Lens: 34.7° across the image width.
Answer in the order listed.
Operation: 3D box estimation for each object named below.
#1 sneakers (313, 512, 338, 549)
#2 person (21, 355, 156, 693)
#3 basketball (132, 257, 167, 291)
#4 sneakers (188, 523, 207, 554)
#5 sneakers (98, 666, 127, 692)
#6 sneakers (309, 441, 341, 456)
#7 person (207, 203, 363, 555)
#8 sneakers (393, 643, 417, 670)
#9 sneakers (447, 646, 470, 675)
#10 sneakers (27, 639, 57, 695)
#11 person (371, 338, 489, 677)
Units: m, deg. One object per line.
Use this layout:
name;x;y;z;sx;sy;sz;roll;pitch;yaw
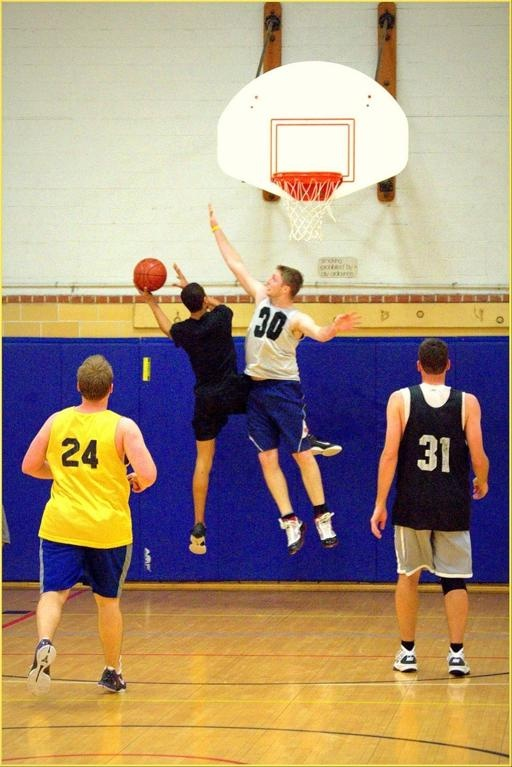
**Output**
sneakers;0.459;0.939;5.403;0.120;0.140;0.344;-3;1;-2
person;-0.759;0.654;3.695;0.574;1.573;0.485;1;-4;-16
basketball;-0.717;-0.743;5.800;0.232;0.224;0.234;-5;1;13
sneakers;-0.416;1.113;5.798;0.121;0.135;0.320;0;-34;3
sneakers;-0.680;1.394;3.872;0.077;0.097;0.204;-1;-20;12
sneakers;0.511;0.449;5.710;0.316;0.126;0.112;1;-11;-9
person;0.202;-0.073;5.430;0.532;2.321;1.234;2;-5;-31
sneakers;0.794;1.436;4.337;0.078;0.092;0.198;1;0;3
sneakers;1.040;1.402;4.176;0.082;0.094;0.201;-1;0;10
sneakers;-0.893;1.170;3.483;0.112;0.265;0.115;4;17;-30
person;0.890;0.637;4.169;0.576;1.699;0.322;-2;-4;14
